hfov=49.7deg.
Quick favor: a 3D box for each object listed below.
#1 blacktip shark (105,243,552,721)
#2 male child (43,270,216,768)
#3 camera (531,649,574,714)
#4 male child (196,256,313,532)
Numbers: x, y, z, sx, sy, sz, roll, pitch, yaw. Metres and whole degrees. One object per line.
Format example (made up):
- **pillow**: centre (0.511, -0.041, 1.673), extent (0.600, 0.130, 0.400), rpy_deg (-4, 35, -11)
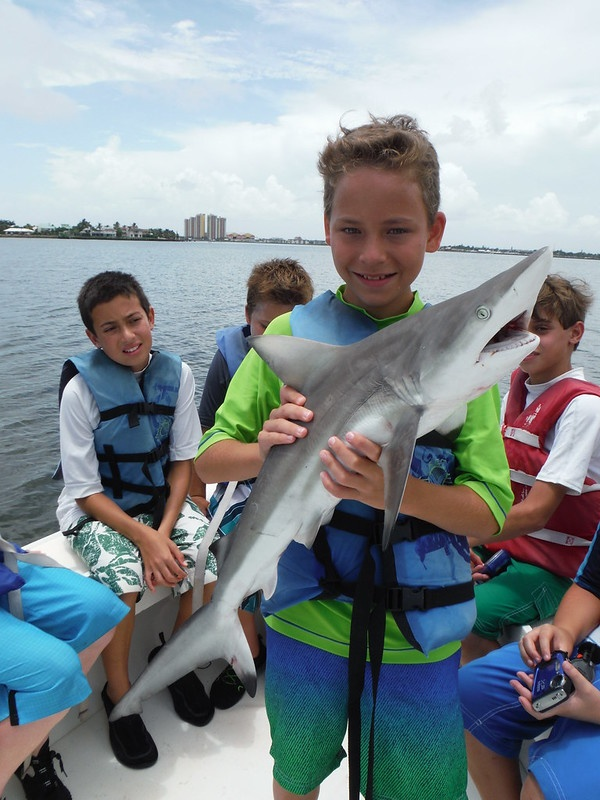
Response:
- **blacktip shark**: centre (0.026, 0.243, 1.942), extent (0.892, 1.660, 0.734), rpy_deg (32, 21, -7)
- **male child**: centre (-0.705, 0.504, 3.555), extent (1.034, 2.351, 1.019), rpy_deg (-5, 10, -38)
- **camera**: centre (0.875, 0.972, 2.243), extent (0.053, 0.112, 0.207), rpy_deg (50, 32, -1)
- **male child**: centre (-0.314, -0.130, 4.648), extent (0.681, 1.441, 0.515), rpy_deg (-11, 17, -37)
